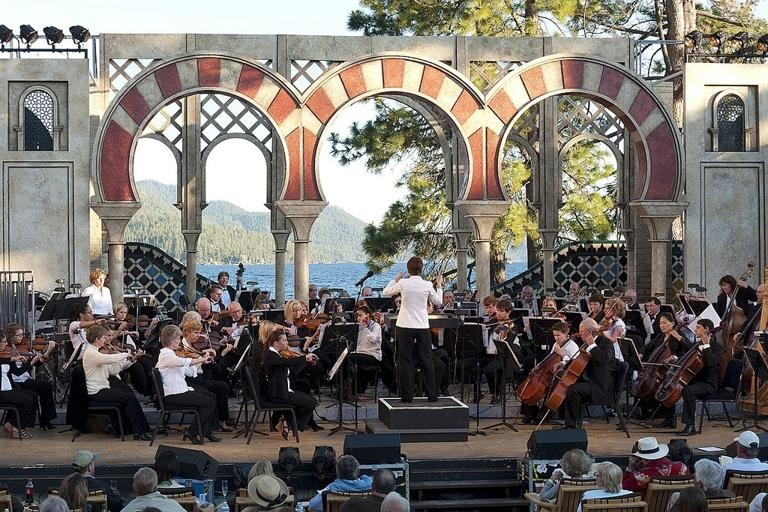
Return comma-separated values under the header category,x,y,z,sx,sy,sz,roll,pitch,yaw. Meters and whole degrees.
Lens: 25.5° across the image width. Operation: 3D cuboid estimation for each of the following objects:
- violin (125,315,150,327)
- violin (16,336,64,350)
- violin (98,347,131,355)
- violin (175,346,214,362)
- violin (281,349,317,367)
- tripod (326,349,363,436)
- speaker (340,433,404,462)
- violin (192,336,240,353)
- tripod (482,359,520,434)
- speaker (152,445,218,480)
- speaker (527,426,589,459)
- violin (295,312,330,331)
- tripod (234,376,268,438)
category,x,y,z,sx,sy,sz,roll,pitch,yaw
violin,-5.469,1.512,37.903,0.315,0.281,0.289,2,10,-9
violin,-7.418,2.017,36.522,0.809,0.175,0.377,4,23,-20
violin,-5.672,2.051,35.555,0.545,0.103,0.215,6,-5,1
violin,-3.940,2.090,35.369,0.649,0.139,0.329,10,-16,19
violin,-1.789,2.168,35.506,0.661,0.144,0.328,11,-2,4
tripod,-0.849,3.048,36.856,0.919,2.018,1.740,1,-5,-1
speaker,-0.229,3.829,33.123,1.111,0.590,0.323,-1,-3,-2
violin,-3.675,2.023,36.767,0.788,0.168,0.354,13,40,-1
tripod,2.669,2.949,36.617,1.003,1.640,1.303,3,-10,-30
speaker,-3.738,4.004,32.285,1.321,0.617,1.067,-2,-8,16
speaker,3.404,3.737,33.249,1.451,0.535,0.359,-1,2,5
violin,-1.610,1.502,37.443,0.362,0.186,0.628,-36,21,-25
tripod,-2.872,3.285,35.809,0.788,1.335,0.681,5,-1,-2
